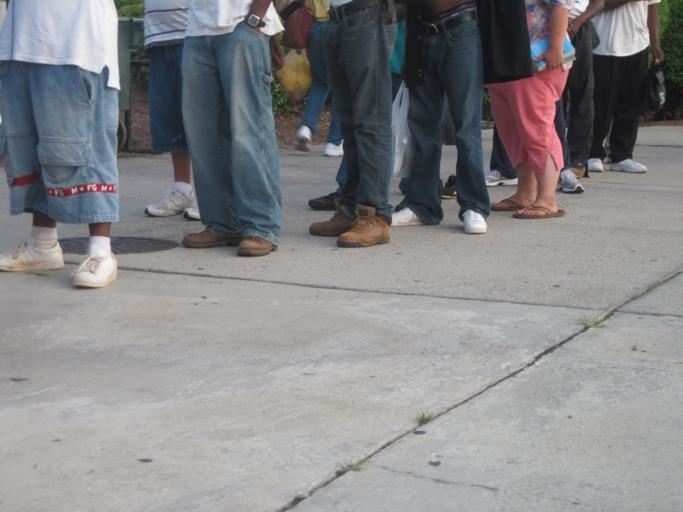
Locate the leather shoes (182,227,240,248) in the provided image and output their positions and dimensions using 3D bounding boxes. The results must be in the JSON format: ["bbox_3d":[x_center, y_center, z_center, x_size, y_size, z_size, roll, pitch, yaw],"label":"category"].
[{"bbox_3d":[-0.744,-0.102,5.488,0.357,0.129,0.122,3,8,-18],"label":"leather shoes"}]

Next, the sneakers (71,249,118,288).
[{"bbox_3d":[-1.166,0.066,4.548,0.160,0.137,0.267,7,14,36],"label":"sneakers"}]

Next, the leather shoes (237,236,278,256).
[{"bbox_3d":[-0.461,-0.058,5.224,0.086,0.079,0.209,-1,-1,30],"label":"leather shoes"}]

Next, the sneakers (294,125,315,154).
[{"bbox_3d":[-0.227,-0.719,5.840,0.071,0.080,0.184,35,-17,6],"label":"sneakers"}]

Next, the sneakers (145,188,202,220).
[{"bbox_3d":[-1.025,-0.352,6.435,0.552,0.220,0.199,2,1,-27],"label":"sneakers"}]

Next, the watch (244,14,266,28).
[{"bbox_3d":[-0.452,-1.244,5.031,0.099,0.052,0.093,17,12,-6],"label":"watch"}]
